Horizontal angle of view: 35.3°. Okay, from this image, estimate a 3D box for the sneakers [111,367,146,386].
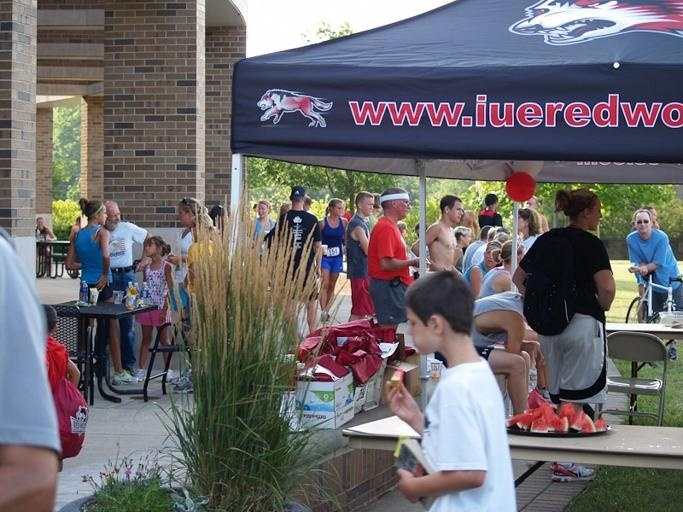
[{"bbox_3d":[-2.259,1.271,11.411,0.386,0.186,0.154,3,3,-15],"label":"sneakers"}]

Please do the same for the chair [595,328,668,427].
[{"bbox_3d":[3.008,1.090,9.901,0.716,1.212,0.908,2,5,27],"label":"chair"}]

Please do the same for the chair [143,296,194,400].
[{"bbox_3d":[-1.568,0.817,9.734,0.440,1.033,0.500,6,8,-33],"label":"chair"}]

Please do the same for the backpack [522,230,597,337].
[{"bbox_3d":[1.723,0.214,8.481,0.446,0.750,0.495,2,5,24],"label":"backpack"}]

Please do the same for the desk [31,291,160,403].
[{"bbox_3d":[-2.442,0.893,10.656,0.793,0.985,0.820,7,6,17],"label":"desk"}]
